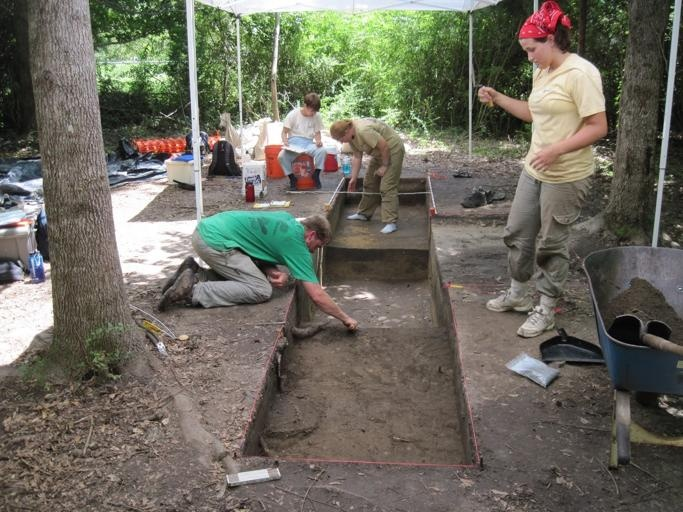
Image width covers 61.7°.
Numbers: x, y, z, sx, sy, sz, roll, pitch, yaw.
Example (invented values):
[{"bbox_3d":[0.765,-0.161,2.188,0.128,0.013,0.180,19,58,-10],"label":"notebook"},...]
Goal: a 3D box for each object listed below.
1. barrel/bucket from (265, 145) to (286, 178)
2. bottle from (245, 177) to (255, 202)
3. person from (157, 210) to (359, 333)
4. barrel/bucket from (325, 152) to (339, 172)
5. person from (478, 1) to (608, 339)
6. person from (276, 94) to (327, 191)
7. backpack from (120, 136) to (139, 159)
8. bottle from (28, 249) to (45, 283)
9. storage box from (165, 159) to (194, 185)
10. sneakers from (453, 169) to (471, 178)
[{"bbox_3d":[-1.436,-1.984,11.968,0.663,0.659,0.647,0,26,0],"label":"barrel/bucket"},{"bbox_3d":[-1.577,-1.130,9.851,0.173,0.398,0.307,-4,14,-8],"label":"bottle"},{"bbox_3d":[-0.897,0.101,5.809,1.677,0.808,1.225,4,15,-7],"label":"person"},{"bbox_3d":[-0.201,-2.071,12.561,0.426,0.385,0.413,-1,16,0],"label":"barrel/bucket"},{"bbox_3d":[1.711,-0.695,4.861,0.701,2.794,0.964,-2,15,-1],"label":"person"},{"bbox_3d":[-0.749,-2.131,10.645,0.879,1.752,0.700,-4,15,-9],"label":"person"},{"bbox_3d":[-5.003,-2.511,13.405,0.418,0.431,0.679,-7,15,-20],"label":"backpack"},{"bbox_3d":[-3.477,0.119,6.522,0.129,0.336,0.231,-9,16,-25],"label":"bottle"},{"bbox_3d":[-3.188,-1.660,11.395,0.825,0.507,0.288,11,19,41],"label":"storage box"},{"bbox_3d":[2.463,-1.683,11.710,0.249,0.105,0.323,1,12,10],"label":"sneakers"}]
